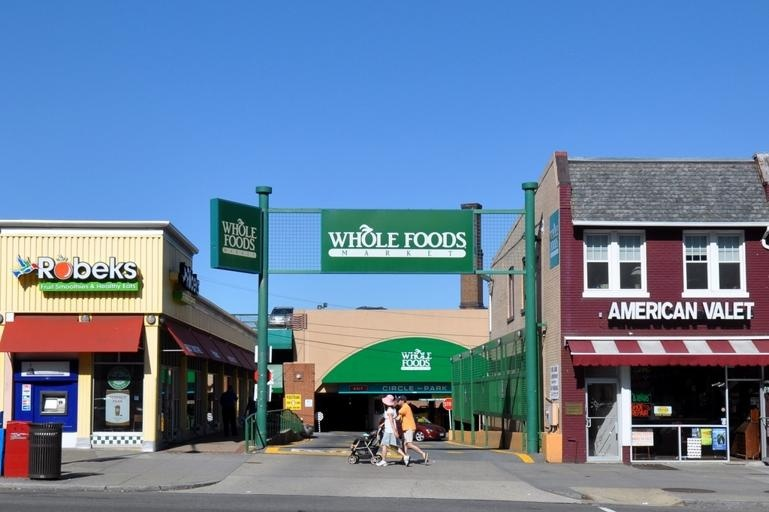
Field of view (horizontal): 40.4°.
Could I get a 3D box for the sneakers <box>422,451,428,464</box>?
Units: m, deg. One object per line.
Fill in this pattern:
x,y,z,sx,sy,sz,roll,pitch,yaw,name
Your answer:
1.367,6.679,34.375,0.162,0.410,0.151,22,37,22,sneakers

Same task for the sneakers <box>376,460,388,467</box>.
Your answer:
-0.066,6.727,33.977,0.155,0.187,0.421,5,-6,-39,sneakers

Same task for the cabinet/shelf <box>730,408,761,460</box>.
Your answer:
12.535,6.136,36.087,0.995,1.708,0.451,-6,-15,18,cabinet/shelf

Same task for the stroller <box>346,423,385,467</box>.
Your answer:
-0.525,6.426,35.120,1.443,1.660,1.209,2,-8,3,stroller
